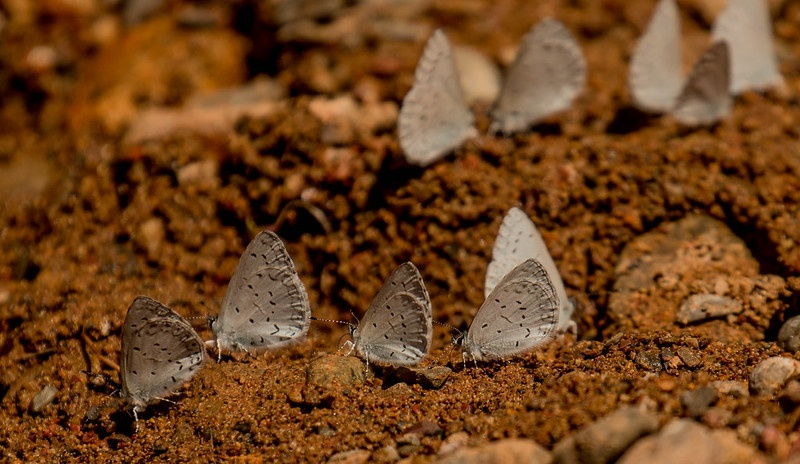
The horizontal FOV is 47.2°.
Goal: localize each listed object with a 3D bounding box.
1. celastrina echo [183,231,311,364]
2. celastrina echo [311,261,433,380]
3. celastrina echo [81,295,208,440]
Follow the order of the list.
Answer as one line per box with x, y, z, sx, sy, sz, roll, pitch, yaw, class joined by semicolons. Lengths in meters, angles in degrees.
-1.314;0.738;8.972;0.878;0.624;1.187;37;83;9;celastrina echo
-0.191;0.804;8.824;0.919;0.946;0.908;-1;89;4;celastrina echo
-2.336;1.178;8.906;1.098;1.197;0.876;-19;58;-16;celastrina echo
